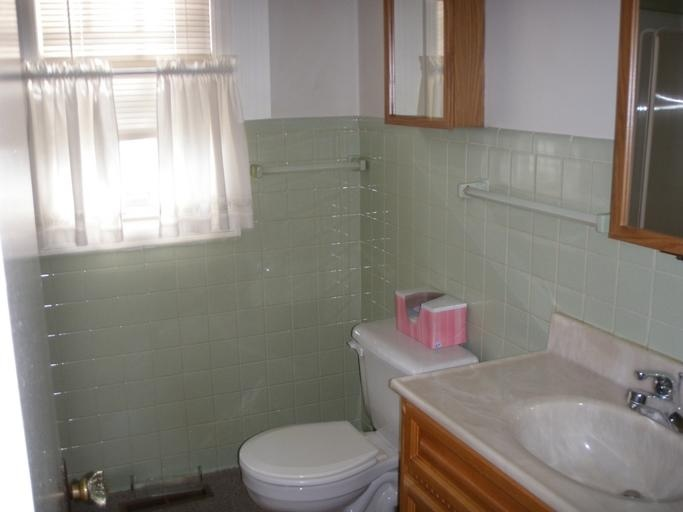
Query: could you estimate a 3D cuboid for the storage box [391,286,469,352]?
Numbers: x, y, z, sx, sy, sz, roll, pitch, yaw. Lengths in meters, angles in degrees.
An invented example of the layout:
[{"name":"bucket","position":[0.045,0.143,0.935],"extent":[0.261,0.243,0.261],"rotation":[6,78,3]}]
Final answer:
[{"name":"storage box","position":[0.368,0.171,2.234],"extent":[0.179,0.176,0.331],"rotation":[-6,11,-21]}]
